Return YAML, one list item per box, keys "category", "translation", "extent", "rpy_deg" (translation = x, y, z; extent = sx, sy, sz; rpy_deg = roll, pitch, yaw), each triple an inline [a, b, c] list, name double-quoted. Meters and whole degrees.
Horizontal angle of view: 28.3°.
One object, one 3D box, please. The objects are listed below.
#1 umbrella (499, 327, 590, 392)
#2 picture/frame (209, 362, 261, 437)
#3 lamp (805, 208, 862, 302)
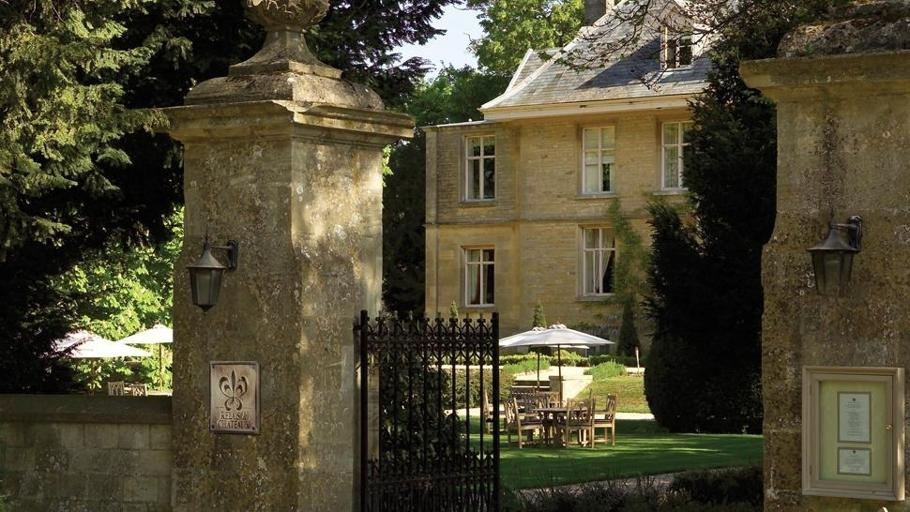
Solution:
- category: "umbrella"
  translation: [1.637, 2.331, 36.274]
  extent: [1.930, 1.212, 1.852]
  rpy_deg: [0, 3, -5]
- category: "picture/frame"
  translation: [-2.788, 1.818, 23.212]
  extent: [1.005, 1.094, 0.193]
  rpy_deg: [-1, -5, 23]
- category: "lamp"
  translation: [4.649, -0.038, 21.948]
  extent: [0.792, 0.972, 0.661]
  rpy_deg: [1, 0, -23]
